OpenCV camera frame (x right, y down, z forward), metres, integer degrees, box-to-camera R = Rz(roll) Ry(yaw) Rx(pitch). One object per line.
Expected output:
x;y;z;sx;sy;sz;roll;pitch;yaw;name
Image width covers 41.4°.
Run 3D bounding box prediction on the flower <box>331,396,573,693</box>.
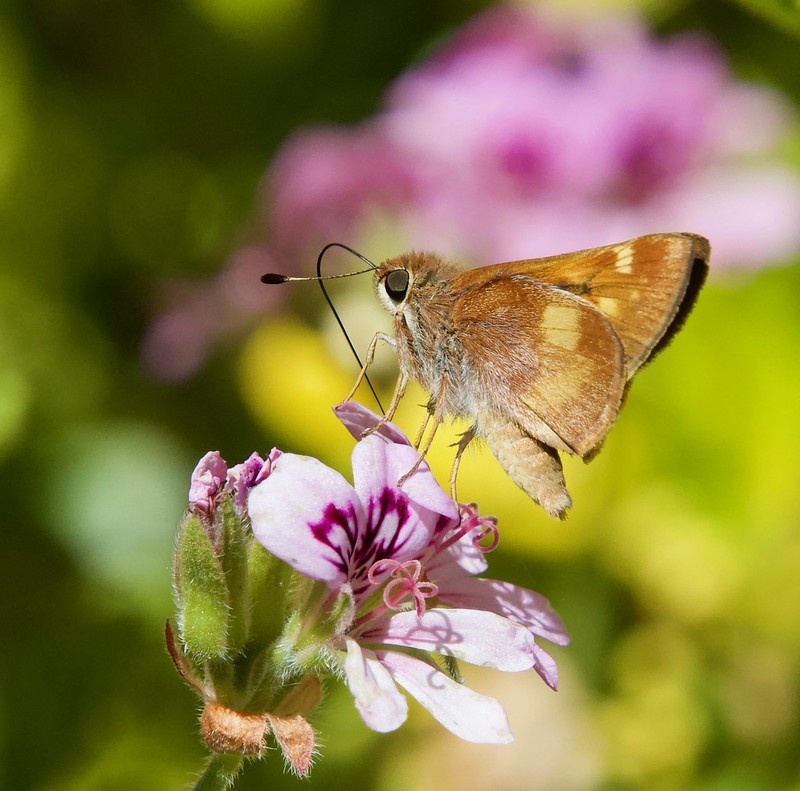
0.006;0.222;1.606;0.172;0.487;0.513;-6;1;-28;flower
